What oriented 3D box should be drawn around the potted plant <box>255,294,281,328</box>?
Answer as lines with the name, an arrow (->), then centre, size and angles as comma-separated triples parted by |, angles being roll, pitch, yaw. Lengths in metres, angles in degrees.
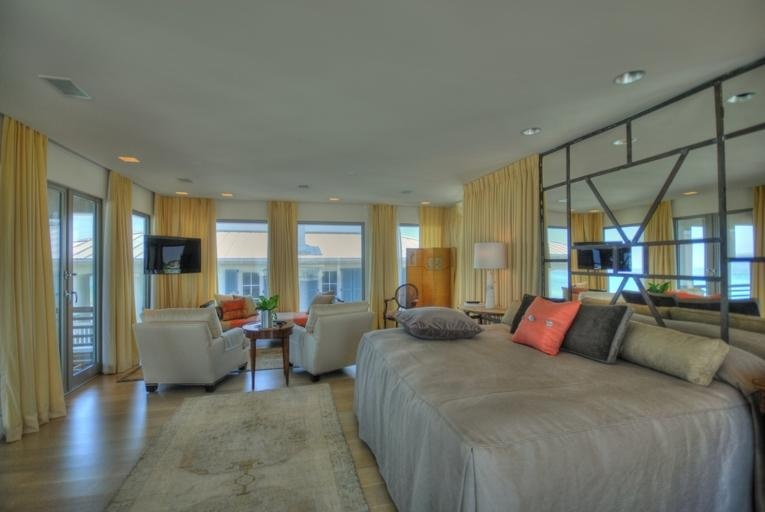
potted plant -> -1.477, 0.712, 6.460 | 0.292, 0.403, 0.403 | 1, 0, -42

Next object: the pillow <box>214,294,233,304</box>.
pillow -> -2.439, 0.655, 7.777 | 0.172, 0.055, 0.180 | 6, 7, -44

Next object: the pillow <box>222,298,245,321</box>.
pillow -> -2.259, 0.817, 7.616 | 0.284, 0.290, 0.105 | -3, -43, -16

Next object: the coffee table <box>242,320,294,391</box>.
coffee table -> -1.324, 1.147, 5.980 | 0.640, 0.758, 0.657 | 0, -4, -13

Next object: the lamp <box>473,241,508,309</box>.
lamp -> 1.350, 0.240, 6.356 | 0.386, 0.753, 0.474 | -2, -1, 8
